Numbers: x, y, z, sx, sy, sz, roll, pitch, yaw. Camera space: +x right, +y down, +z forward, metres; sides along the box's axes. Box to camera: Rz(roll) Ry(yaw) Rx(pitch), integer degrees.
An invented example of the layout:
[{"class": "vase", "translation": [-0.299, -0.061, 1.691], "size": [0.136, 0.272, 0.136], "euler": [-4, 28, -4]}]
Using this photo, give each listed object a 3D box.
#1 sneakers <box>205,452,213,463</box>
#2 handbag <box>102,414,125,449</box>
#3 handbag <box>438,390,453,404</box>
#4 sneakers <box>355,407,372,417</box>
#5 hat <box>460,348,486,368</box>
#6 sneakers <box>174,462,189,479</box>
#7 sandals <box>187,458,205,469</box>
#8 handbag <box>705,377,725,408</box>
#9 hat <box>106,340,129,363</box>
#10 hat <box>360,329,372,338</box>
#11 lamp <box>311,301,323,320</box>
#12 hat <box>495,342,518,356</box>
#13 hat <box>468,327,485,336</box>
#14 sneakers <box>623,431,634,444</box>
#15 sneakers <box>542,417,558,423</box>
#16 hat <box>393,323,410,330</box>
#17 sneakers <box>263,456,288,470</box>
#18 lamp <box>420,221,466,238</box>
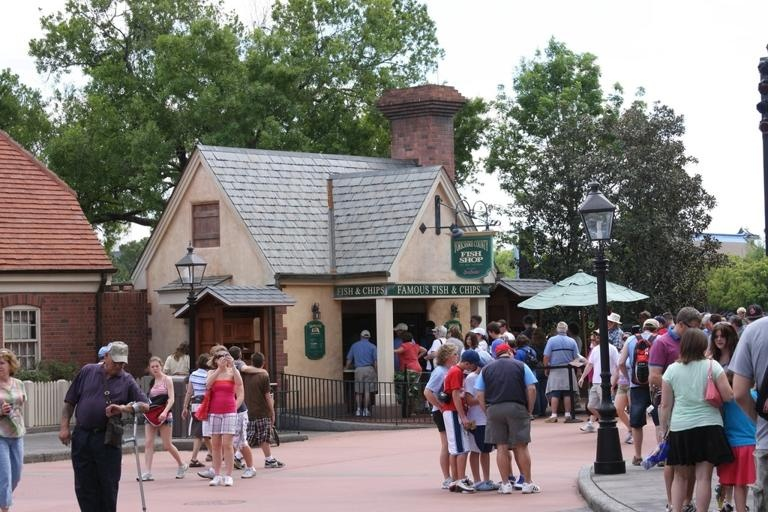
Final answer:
[{"class": "sneakers", "translation": [-4.256, 4.795, 31.711], "size": [0.188, 0.236, 0.560], "euler": [0, -8, -7]}, {"class": "handbag", "translation": [-5.156, 3.278, 24.965], "size": [0.394, 0.630, 0.236], "euler": [-9, 14, -32]}, {"class": "handbag", "translation": [1.252, 2.943, 27.801], "size": [0.240, 0.243, 0.086], "euler": [21, 15, 41]}, {"class": "sneakers", "translation": [-0.675, 4.539, 38.800], "size": [0.170, 0.205, 0.484], "euler": [2, 2, 21]}, {"class": "hat", "translation": [1.843, 2.131, 27.938], "size": [0.447, 0.267, 0.287], "euler": [-1, 33, -34]}, {"class": "sneakers", "translation": [-4.634, 4.832, 30.010], "size": [0.197, 0.463, 0.170], "euler": [6, 3, -22]}, {"class": "sandals", "translation": [-4.475, 4.851, 31.125], "size": [0.418, 0.177, 0.153], "euler": [1, 1, -15]}, {"class": "handbag", "translation": [5.962, 2.417, 23.933], "size": [0.151, 0.424, 0.453], "euler": [-9, -17, 19]}, {"class": "hat", "translation": [-5.125, 1.796, 25.172], "size": [0.336, 0.273, 0.518], "euler": [4, 3, -27]}, {"class": "hat", "translation": [-0.638, 2.331, 40.754], "size": [0.301, 0.170, 0.436], "euler": [2, 1, -3]}, {"class": "lamp", "translation": [-2.112, 1.648, 40.124], "size": [0.360, 0.529, 0.239], "euler": [-8, 13, -31]}, {"class": "hat", "translation": [2.532, 1.974, 27.893], "size": [0.431, 0.227, 0.305], "euler": [-5, 5, -31]}, {"class": "hat", "translation": [2.282, 1.851, 33.105], "size": [0.460, 0.165, 0.290], "euler": [19, -10, -32]}, {"class": "sneakers", "translation": [5.910, 4.371, 32.036], "size": [0.138, 0.278, 0.409], "euler": [2, 0, -7]}, {"class": "sneakers", "translation": [4.548, 4.447, 36.257], "size": [0.306, 0.130, 0.149], "euler": [2, 3, 24]}, {"class": "hat", "translation": [0.502, 2.112, 39.933], "size": [0.315, 0.182, 0.213], "euler": [9, 4, -19]}, {"class": "sneakers", "translation": [-2.641, 4.812, 30.998], "size": [0.473, 0.230, 0.188], "euler": [2, 2, -6]}, {"class": "lamp", "translation": [1.852, -0.795, 40.457], "size": [0.953, 0.376, 0.606], "euler": [-4, -7, 25]}]
